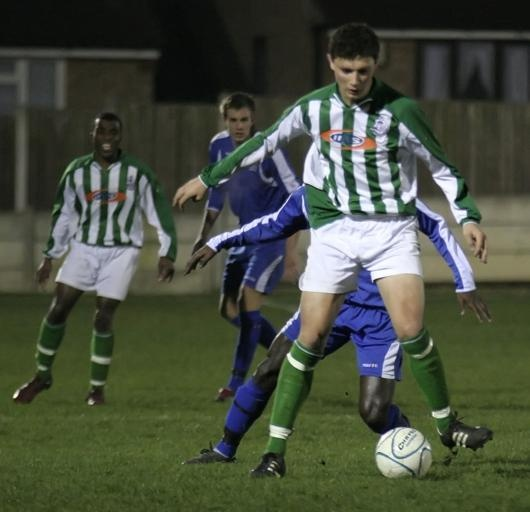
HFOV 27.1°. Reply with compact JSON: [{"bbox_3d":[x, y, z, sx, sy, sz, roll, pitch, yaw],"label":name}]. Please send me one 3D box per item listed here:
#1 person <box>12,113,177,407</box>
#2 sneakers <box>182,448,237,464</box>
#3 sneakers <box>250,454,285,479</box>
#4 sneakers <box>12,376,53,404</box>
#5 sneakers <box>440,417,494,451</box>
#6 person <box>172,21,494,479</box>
[{"bbox_3d":[-1.071,0.018,7.015,0.973,1.868,0.378,1,4,-6],"label":"person"},{"bbox_3d":[-0.285,1.034,5.523,0.266,0.120,0.097,4,-15,-1],"label":"sneakers"},{"bbox_3d":[-0.003,1.009,5.235,0.083,0.079,0.170,-5,-12,30],"label":"sneakers"},{"bbox_3d":[-1.495,0.860,6.985,0.128,0.181,0.315,4,5,32],"label":"sneakers"},{"bbox_3d":[0.952,0.872,5.317,0.290,0.173,0.120,-16,26,50],"label":"sneakers"},{"bbox_3d":[0.309,-0.026,5.298,1.447,2.277,0.579,-3,20,1],"label":"person"}]
